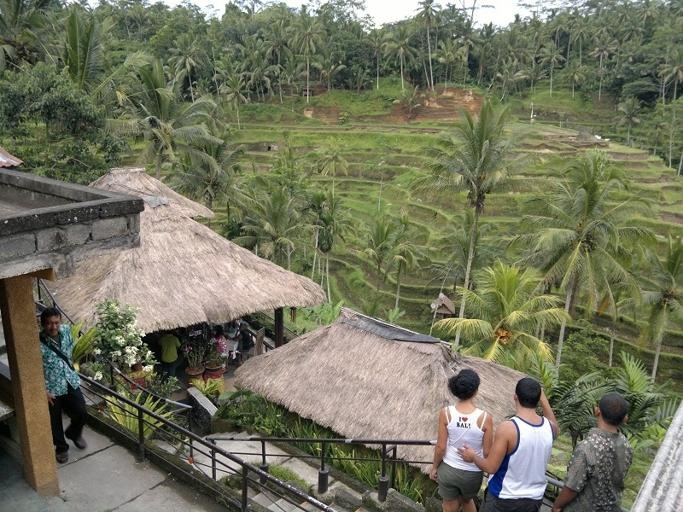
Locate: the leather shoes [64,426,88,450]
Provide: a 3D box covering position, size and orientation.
[{"bbox_3d":[-3.620,2.510,7.010,0.288,0.205,0.102,39,30,-6],"label":"leather shoes"}]

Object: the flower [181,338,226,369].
[{"bbox_3d":[-3.355,2.431,12.720,0.807,0.629,0.762,2,-9,2],"label":"flower"}]

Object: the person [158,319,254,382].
[{"bbox_3d":[-3.368,2.381,13.143,1.115,0.567,1.718,2,7,43],"label":"person"}]

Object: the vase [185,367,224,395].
[{"bbox_3d":[-3.106,2.833,11.676,0.774,0.846,0.810,0,-4,2],"label":"vase"}]

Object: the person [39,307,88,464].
[{"bbox_3d":[-3.565,1.681,6.644,0.465,2.066,0.841,-4,15,-28],"label":"person"}]
